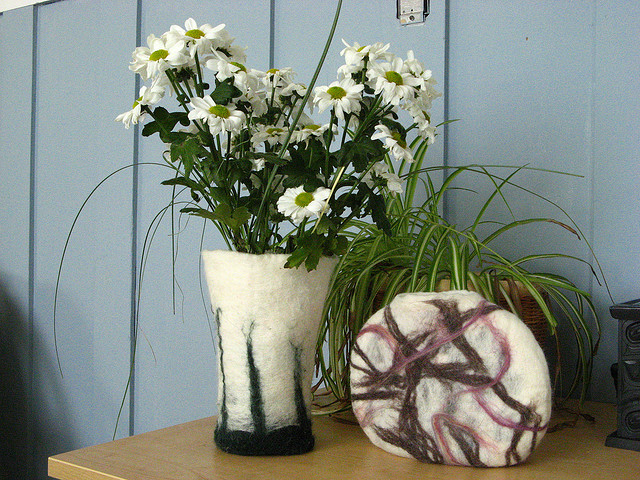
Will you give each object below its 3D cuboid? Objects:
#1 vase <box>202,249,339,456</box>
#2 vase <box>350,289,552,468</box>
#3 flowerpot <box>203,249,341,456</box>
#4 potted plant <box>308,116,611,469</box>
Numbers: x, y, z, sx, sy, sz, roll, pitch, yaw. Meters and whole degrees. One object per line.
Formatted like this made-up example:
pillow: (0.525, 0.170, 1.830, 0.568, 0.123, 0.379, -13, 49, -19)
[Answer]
vase: (-0.092, 0.215, 1.578, 0.301, 0.471, 0.310, 1, -4, -8)
vase: (0.236, 0.264, 1.401, 0.248, 0.260, 0.113, 2, 1, 19)
flowerpot: (-0.092, 0.220, 1.578, 0.298, 0.471, 0.310, 1, -4, -4)
potted plant: (0.275, 0.135, 1.573, 0.504, 0.621, 0.546, 0, -2, 24)
